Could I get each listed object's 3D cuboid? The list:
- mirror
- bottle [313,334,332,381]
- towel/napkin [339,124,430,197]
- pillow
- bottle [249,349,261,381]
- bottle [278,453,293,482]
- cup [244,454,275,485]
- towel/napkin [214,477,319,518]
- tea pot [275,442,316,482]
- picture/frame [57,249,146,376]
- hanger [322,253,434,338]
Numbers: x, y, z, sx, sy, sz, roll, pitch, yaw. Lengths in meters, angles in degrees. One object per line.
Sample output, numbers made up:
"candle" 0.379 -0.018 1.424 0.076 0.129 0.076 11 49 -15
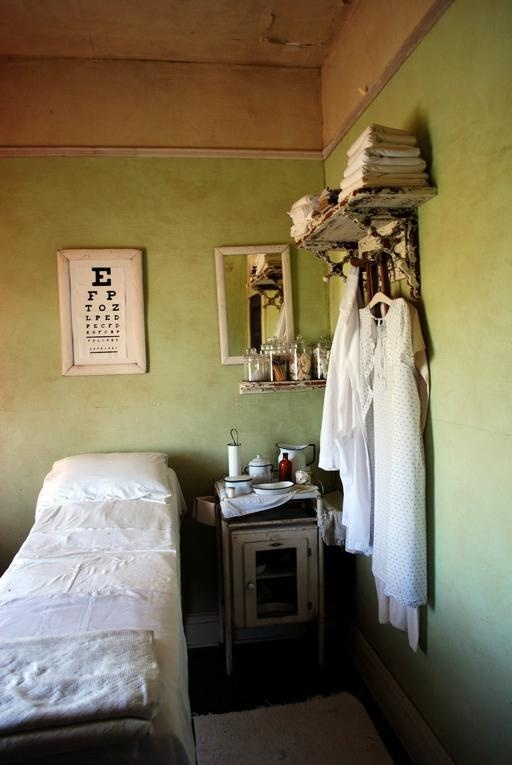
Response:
"mirror" -0.029 -0.387 2.898 0.488 0.827 0.035 -4 8 -12
"bottle" 0.329 -0.118 2.899 0.085 0.218 0.278 1 4 7
"towel/napkin" 0.406 -0.625 1.750 0.201 0.139 0.258 0 3 -6
"pillow" -0.677 0.445 2.553 0.336 0.097 0.297 2 24 -3
"bottle" -0.011 -0.076 2.778 0.061 0.153 0.134 0 4 -4
"bottle" 0.139 0.419 2.736 0.057 0.130 0.037 0 4 -9
"cup" 0.027 0.421 2.744 0.115 0.160 0.103 -1 9 21
"towel/napkin" 0.041 0.542 2.636 0.447 0.104 0.312 -1 4 -16
"tea pot" 0.213 0.404 2.886 0.184 0.219 0.132 1 -3 -19
"picture/frame" -0.769 -0.348 2.800 0.508 0.839 0.055 -1 4 -4
"hanger" 0.453 -0.323 2.111 0.140 0.421 0.412 -5 9 -21
